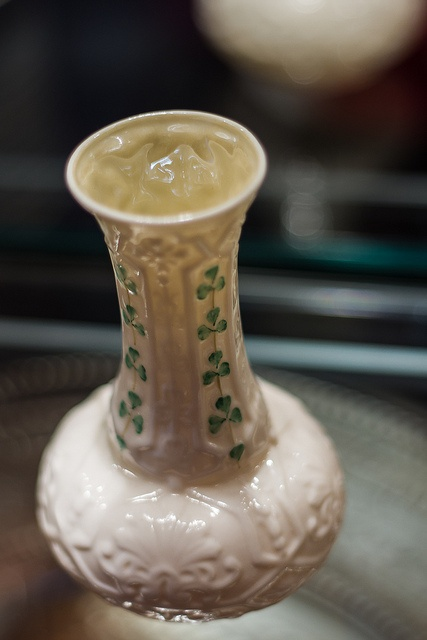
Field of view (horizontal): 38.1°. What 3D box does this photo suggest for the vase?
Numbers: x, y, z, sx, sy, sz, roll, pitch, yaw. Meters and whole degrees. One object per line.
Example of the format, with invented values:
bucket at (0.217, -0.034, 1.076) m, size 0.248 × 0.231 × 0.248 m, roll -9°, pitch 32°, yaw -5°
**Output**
vase at (-0.019, 0.033, 0.381) m, size 0.204 × 0.286 × 0.148 m, roll 7°, pitch 34°, yaw 11°
